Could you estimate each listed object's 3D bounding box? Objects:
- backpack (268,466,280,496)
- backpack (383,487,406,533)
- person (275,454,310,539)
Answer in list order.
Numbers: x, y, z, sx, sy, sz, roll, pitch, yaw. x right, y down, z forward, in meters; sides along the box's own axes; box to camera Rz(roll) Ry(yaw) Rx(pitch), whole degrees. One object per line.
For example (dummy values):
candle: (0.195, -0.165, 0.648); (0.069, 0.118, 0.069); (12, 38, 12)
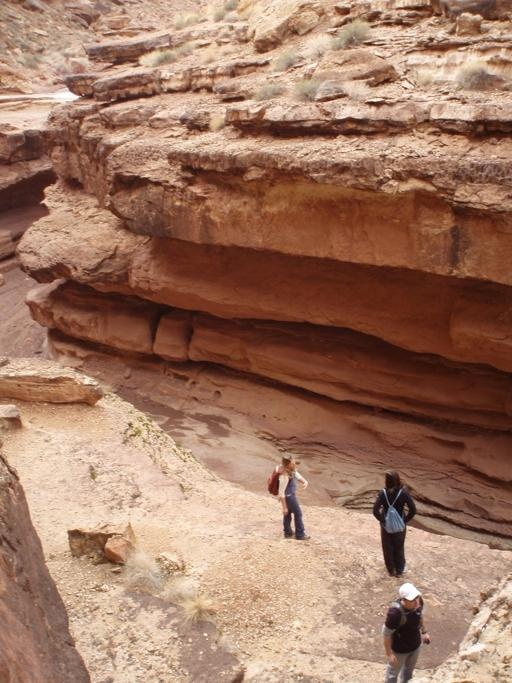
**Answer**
backpack: (0.192, 1.490, 6.629); (0.116, 0.371, 0.246); (4, 9, 2)
backpack: (1.303, 1.631, 5.970); (0.216, 0.391, 0.173); (5, -11, -20)
person: (0.406, 1.664, 6.799); (0.358, 1.009, 0.607); (5, 9, 7)
